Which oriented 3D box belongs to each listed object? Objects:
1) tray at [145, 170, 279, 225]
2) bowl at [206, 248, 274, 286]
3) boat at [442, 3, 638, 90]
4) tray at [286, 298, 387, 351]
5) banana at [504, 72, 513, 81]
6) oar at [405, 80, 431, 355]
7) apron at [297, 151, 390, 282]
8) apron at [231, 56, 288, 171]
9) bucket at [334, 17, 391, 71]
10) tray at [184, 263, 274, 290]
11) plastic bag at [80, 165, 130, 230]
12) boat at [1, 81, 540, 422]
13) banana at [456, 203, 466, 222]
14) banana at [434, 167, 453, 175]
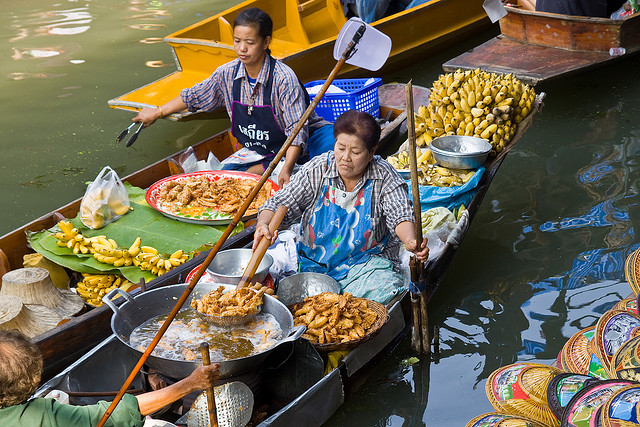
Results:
[{"bbox_3d":[-1.276,-0.202,6.124,1.358,0.592,1.479,3,-3,-25],"label":"tray"},{"bbox_3d":[-0.707,0.531,5.168,0.509,0.281,0.426,7,41,23],"label":"bowl"},{"bbox_3d":[3.201,-2.355,8.050,2.190,0.435,1.601,-35,37,-26],"label":"boat"},{"bbox_3d":[0.122,0.933,5.077,0.774,0.438,0.692,0,-6,-23],"label":"tray"},{"bbox_3d":[2.228,-1.625,6.749,0.067,0.071,0.248,-21,10,21],"label":"banana"},{"bbox_3d":[0.852,0.260,4.979,0.112,2.980,0.162,-4,27,5],"label":"oar"},{"bbox_3d":[0.230,0.151,5.513,0.972,1.170,0.736,2,-7,4],"label":"apron"},{"bbox_3d":[-0.567,-1.078,6.882,0.847,1.259,0.798,1,9,38],"label":"apron"},{"bbox_3d":[0.388,-1.431,4.852,0.529,0.354,0.123,20,20,-35],"label":"bucket"},{"bbox_3d":[-0.976,0.605,5.246,0.421,0.097,0.411,0,27,-3],"label":"tray"},{"bbox_3d":[-2.267,-0.192,5.944,0.359,0.556,0.533,28,45,30],"label":"plastic bag"},{"bbox_3d":[0.218,0.281,6.265,2.484,0.927,6.934,22,37,36],"label":"boat"},{"bbox_3d":[1.463,-0.010,5.945,0.032,0.140,0.139,23,52,8],"label":"banana"},{"bbox_3d":[1.330,-0.452,6.148,0.128,0.030,0.077,20,7,11],"label":"banana"}]
